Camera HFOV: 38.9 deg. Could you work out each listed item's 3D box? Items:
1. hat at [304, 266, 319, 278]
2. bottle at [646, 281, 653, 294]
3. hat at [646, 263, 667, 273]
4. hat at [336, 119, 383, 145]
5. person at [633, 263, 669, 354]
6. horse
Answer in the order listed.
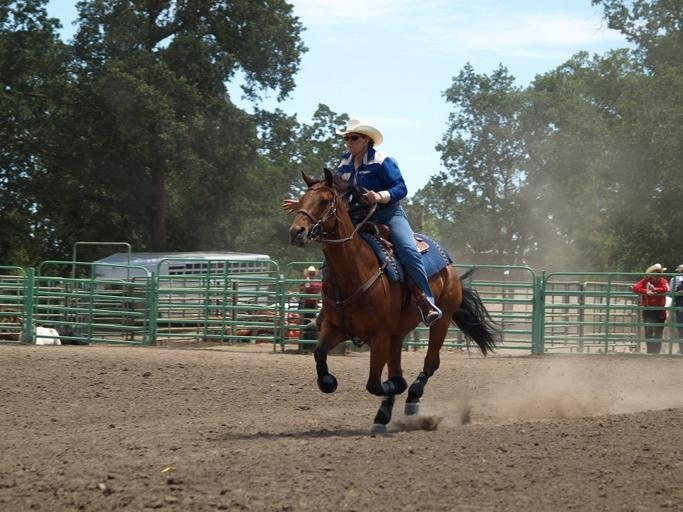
[{"bbox_3d":[-0.795,0.372,24.241,0.385,0.166,0.431,8,-20,5],"label":"hat"},{"bbox_3d":[7.378,0.746,23.072,0.174,0.274,0.373,2,-2,16],"label":"bottle"},{"bbox_3d":[9.778,0.342,29.833,0.396,0.084,0.352,1,-19,-23],"label":"hat"},{"bbox_3d":[0.293,-2.008,15.385,0.615,0.357,0.436,1,-2,9],"label":"hat"},{"bbox_3d":[7.459,1.260,23.229,0.810,2.141,1.355,2,-2,17],"label":"person"},{"bbox_3d":[0.638,0.726,15.623,1.135,4.003,3.985,1,-2,34],"label":"horse"}]
